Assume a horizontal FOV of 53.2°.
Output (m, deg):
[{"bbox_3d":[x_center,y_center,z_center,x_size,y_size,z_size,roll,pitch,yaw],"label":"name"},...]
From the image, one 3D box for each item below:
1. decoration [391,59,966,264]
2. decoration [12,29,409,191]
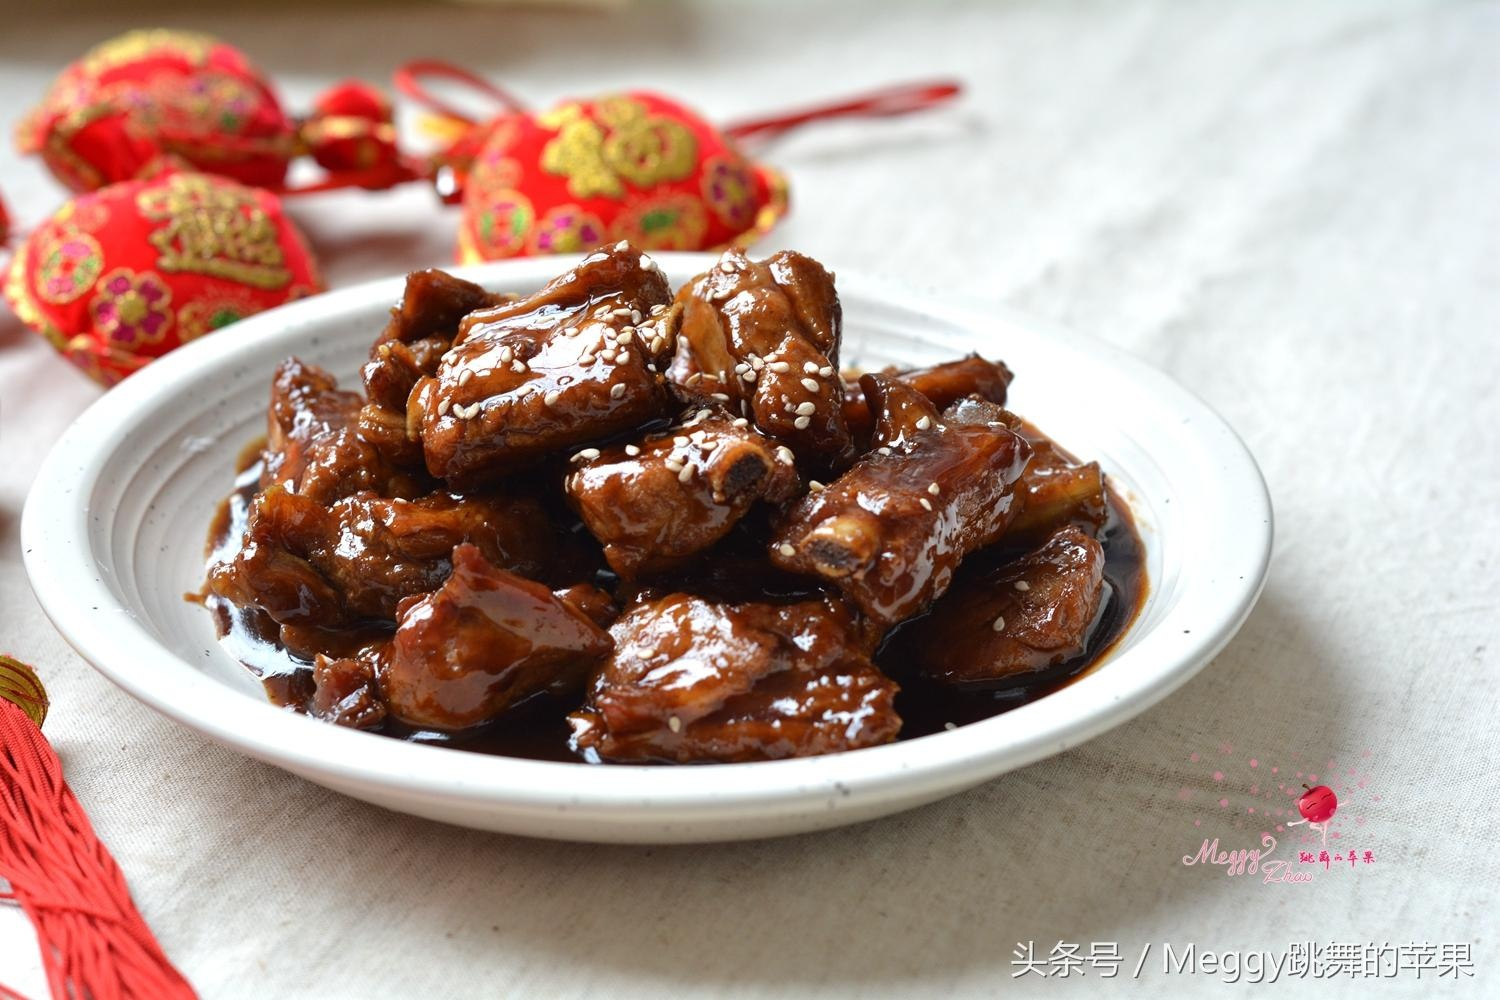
[{"bbox_3d":[-0.320,-1.227,5.767,1.813,0.591,1.266,-4,23,-3],"label":"decoration"},{"bbox_3d":[-2.119,-1.475,6.113,1.522,0.738,0.813,-14,18,-21],"label":"decoration"}]
